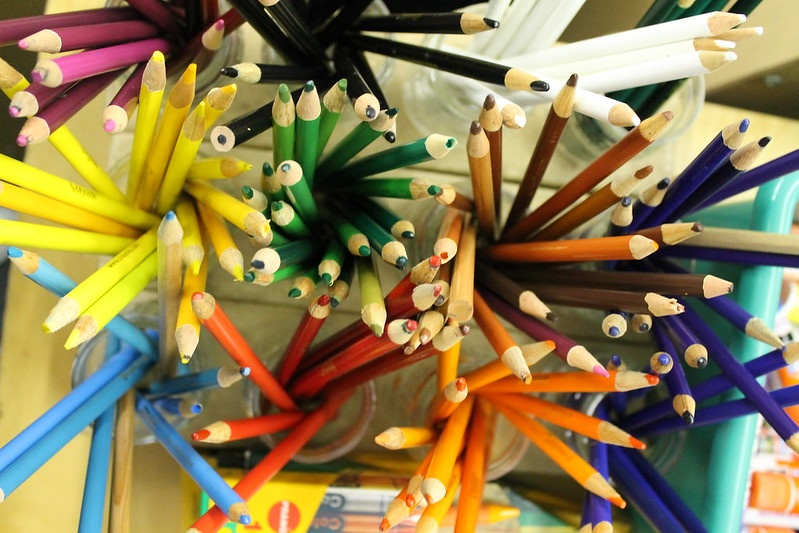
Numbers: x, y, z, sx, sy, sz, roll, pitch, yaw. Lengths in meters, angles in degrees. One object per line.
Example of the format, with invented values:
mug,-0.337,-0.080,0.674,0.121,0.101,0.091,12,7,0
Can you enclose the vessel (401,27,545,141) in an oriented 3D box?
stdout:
vessel,0.071,-0.172,0.886,0.126,0.141,0.139,3,0,-27
